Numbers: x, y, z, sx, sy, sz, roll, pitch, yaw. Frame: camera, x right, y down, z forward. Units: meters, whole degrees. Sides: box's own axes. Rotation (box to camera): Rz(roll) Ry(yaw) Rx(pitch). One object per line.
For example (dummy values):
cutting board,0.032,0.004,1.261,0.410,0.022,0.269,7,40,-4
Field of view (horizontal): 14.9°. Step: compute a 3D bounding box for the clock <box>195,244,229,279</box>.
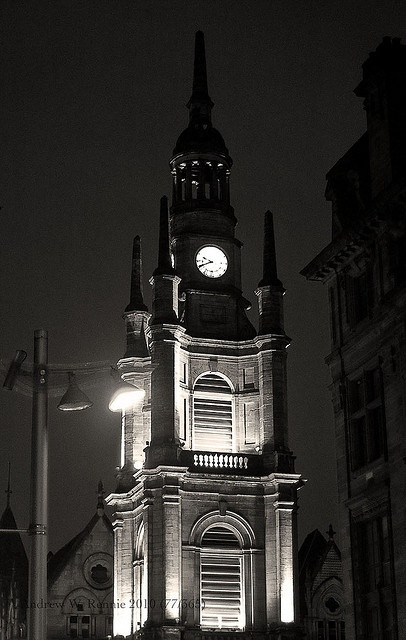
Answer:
clock,0.365,-3.029,78.688,1.209,1.524,0.105,16,-30,-30
